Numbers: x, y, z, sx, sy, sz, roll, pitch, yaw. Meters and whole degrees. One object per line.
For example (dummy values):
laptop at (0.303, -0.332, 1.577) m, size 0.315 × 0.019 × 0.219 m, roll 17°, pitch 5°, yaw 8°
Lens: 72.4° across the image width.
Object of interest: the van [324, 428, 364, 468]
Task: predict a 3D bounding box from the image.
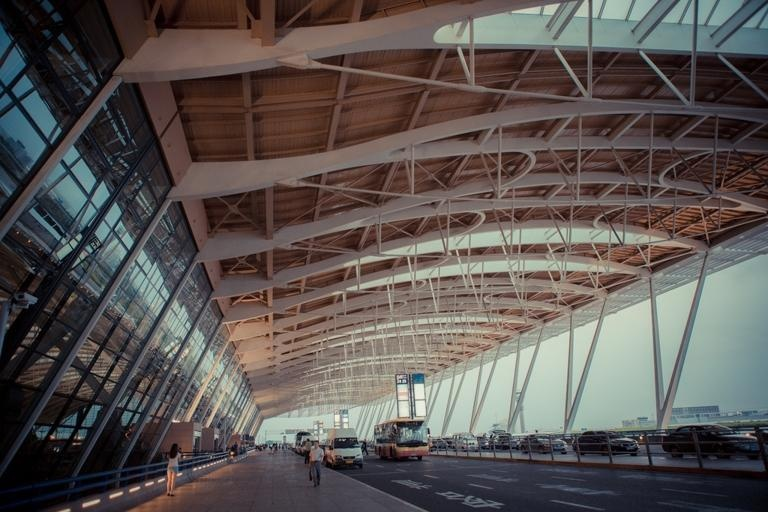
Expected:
van at (-2.970, 14.609, 39.834) m, size 2.058 × 1.941 × 4.084 m, roll 1°, pitch -25°, yaw -9°
